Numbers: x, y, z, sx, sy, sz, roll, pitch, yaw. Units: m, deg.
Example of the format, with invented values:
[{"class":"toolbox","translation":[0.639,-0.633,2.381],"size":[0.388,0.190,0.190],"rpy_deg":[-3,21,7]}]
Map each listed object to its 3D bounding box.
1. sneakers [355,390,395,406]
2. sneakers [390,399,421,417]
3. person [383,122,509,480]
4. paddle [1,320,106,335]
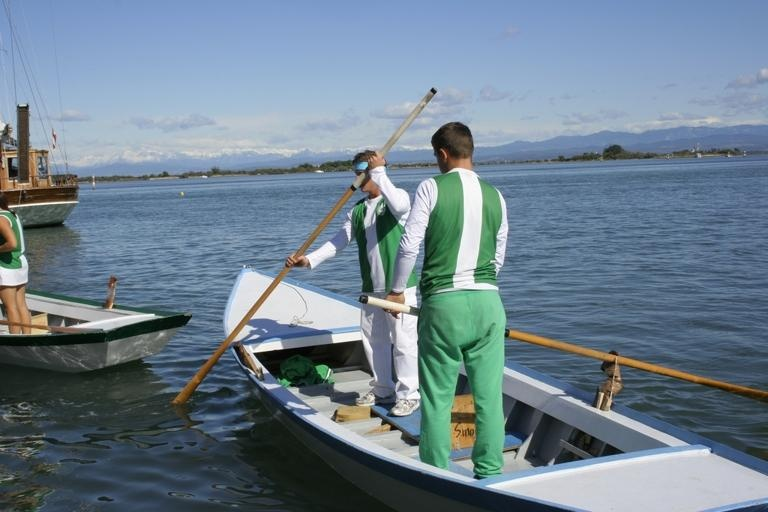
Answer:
[{"class":"sneakers","translation":[-0.098,1.627,6.964],"size":[0.422,0.149,0.163],"rpy_deg":[3,-3,-12]},{"class":"sneakers","translation":[0.235,1.655,6.653],"size":[0.350,0.125,0.133],"rpy_deg":[-3,3,-20]},{"class":"person","translation":[0.594,0.404,5.313],"size":[0.930,3.082,0.558],"rpy_deg":[-1,10,9]},{"class":"paddle","translation":[-4.883,1.054,9.009],"size":[1.911,0.170,0.100],"rpy_deg":[3,18,22]}]
